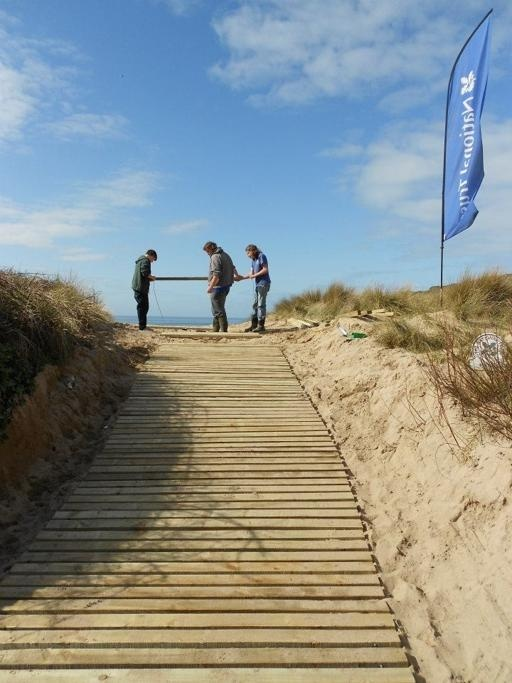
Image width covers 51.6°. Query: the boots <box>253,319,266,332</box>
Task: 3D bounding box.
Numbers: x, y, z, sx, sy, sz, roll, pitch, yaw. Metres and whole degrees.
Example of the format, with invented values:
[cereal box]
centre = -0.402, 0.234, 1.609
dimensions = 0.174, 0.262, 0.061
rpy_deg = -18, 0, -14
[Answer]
[boots]
centre = 0.050, -0.291, 9.835
dimensions = 0.228, 0.257, 0.274
rpy_deg = 5, -2, -20
